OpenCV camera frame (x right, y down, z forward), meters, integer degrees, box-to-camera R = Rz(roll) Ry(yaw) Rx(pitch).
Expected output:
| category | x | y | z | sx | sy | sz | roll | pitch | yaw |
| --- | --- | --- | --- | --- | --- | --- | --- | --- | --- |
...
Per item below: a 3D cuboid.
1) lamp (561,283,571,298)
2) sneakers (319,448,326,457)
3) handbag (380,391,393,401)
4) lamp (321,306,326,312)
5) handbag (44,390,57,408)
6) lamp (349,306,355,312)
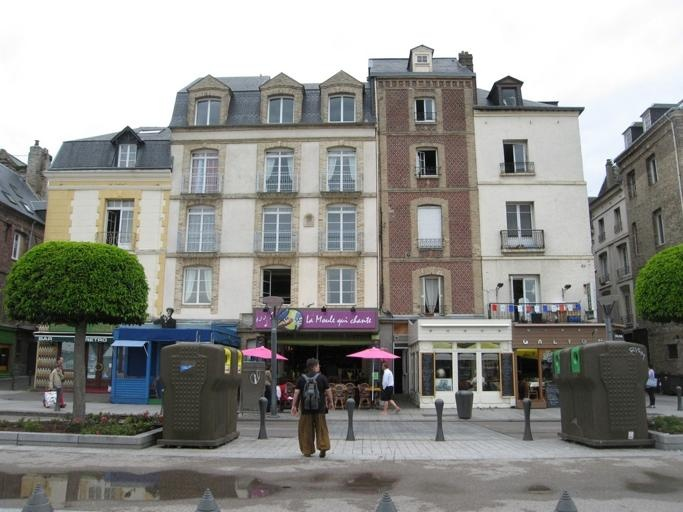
| category | x | y | z | sx | sy | sz | roll | pitch | yaw |
| --- | --- | --- | --- | --- | --- | --- | --- | --- | --- |
| lamp | 10.910 | 1.718 | 31.278 | 0.493 | 0.737 | 0.486 | 0 | -12 | -2 |
| sneakers | -0.454 | 4.743 | 15.573 | 0.160 | 0.205 | 0.403 | -1 | -12 | -1 |
| handbag | 1.814 | 5.579 | 25.814 | 0.430 | 0.455 | 0.434 | 2 | -12 | 7 |
| lamp | -0.834 | 2.553 | 30.926 | 0.286 | 0.303 | 0.200 | 6 | -14 | -30 |
| handbag | -10.830 | 5.355 | 24.162 | 0.583 | 0.789 | 0.432 | 5 | -12 | -42 |
| lamp | 0.511 | 2.555 | 30.828 | 0.243 | 0.232 | 0.172 | 1 | 0 | -5 |
